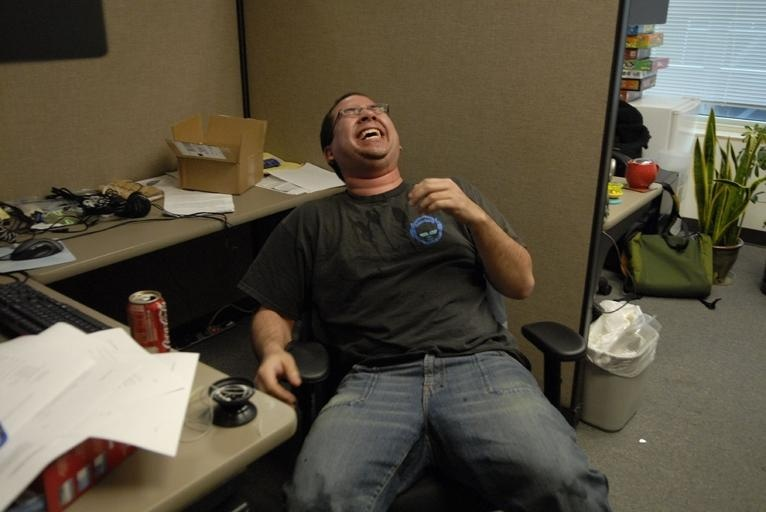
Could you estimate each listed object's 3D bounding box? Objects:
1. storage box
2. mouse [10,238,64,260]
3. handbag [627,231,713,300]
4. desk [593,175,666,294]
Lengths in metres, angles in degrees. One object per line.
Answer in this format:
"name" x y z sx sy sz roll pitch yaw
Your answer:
"storage box" -0.728 -0.474 2.494 0.425 0.290 0.399 9 24 19
"mouse" -1.225 -0.024 1.895 0.084 0.031 0.112 21 26 33
"handbag" 1.756 0.061 3.287 0.428 0.350 0.175 1 17 13
"desk" 1.335 -0.114 2.877 0.488 0.320 0.650 9 37 25
